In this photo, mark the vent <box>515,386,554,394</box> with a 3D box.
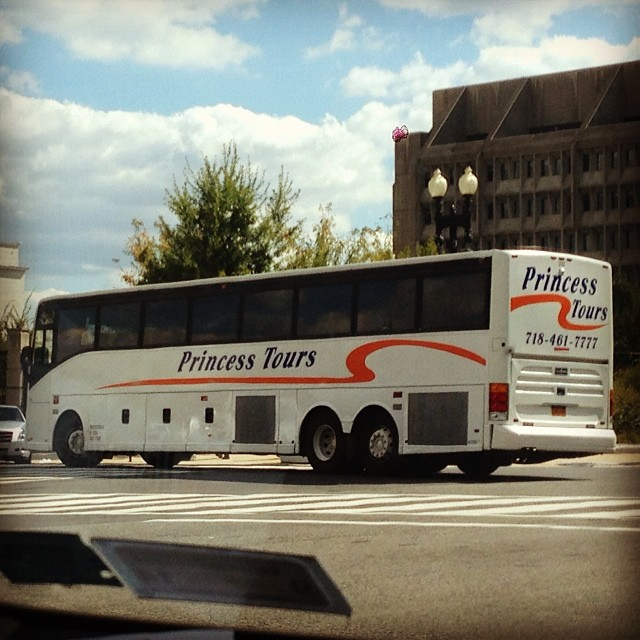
[{"bbox_3d":[3.417,1.126,16.350,0.881,0.134,0.170,2,-5,-43],"label":"vent"}]

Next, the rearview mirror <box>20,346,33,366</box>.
[{"bbox_3d":[-6.917,0.875,24.243,0.215,0.556,0.111,4,-2,17],"label":"rearview mirror"}]

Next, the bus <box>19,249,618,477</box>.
[{"bbox_3d":[-0.963,1.112,20.907,14.048,3.977,3.150,-5,-5,39],"label":"bus"}]
